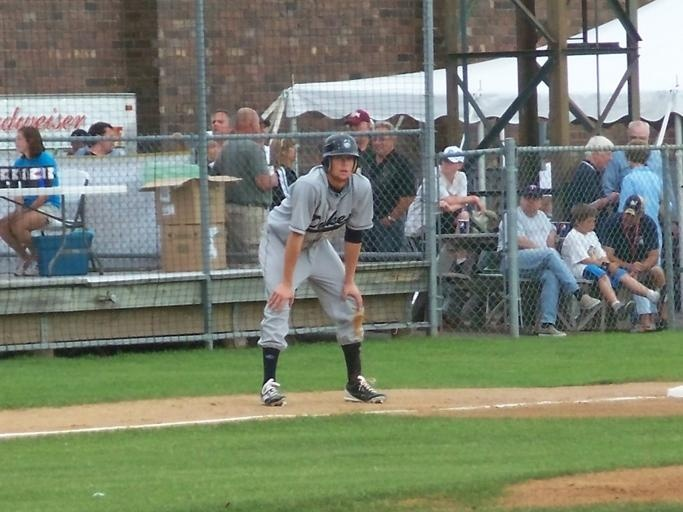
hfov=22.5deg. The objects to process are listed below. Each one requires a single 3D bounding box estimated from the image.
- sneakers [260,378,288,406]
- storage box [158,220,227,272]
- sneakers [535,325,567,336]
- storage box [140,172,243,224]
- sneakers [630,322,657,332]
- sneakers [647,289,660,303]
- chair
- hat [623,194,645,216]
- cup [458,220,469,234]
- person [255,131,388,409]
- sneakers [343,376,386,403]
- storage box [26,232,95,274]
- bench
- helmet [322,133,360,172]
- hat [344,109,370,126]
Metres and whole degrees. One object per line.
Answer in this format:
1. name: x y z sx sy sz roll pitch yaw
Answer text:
1. sneakers: -0.639 1.279 16.430 0.124 0.177 0.359 -1 -5 -20
2. storage box: -1.531 -0.217 18.971 0.698 0.550 0.738 0 12 21
3. sneakers: 2.337 0.784 19.079 0.323 0.215 0.122 -2 -2 13
4. storage box: -1.842 -0.563 18.939 1.030 0.528 0.846 -3 -6 5
5. sneakers: 3.396 0.759 19.298 0.271 0.110 0.098 1 2 -7
6. sneakers: 3.518 0.403 19.310 0.142 0.147 0.147 1 5 14
7. chair: -2.971 -0.332 18.990 0.655 1.057 0.636 -2 -4 -19
8. hat: 3.279 -0.586 19.275 0.170 0.213 0.243 3 -9 3
9. cup: 1.424 -0.358 19.867 0.140 0.157 0.143 0 5 0
10. person: -0.199 0.099 16.432 1.167 2.546 0.552 -1 5 -2
11. sneakers: 0.218 1.255 16.634 0.475 0.225 0.175 -2 -3 37
12. storage box: -3.036 -0.083 18.915 0.664 0.471 0.544 0 11 -13
13. bench: 1.887 0.198 19.284 1.968 1.228 0.458 0 5 9
14. helmet: 0.026 -1.006 16.220 0.357 0.336 0.411 1 6 -17
15. hat: 0.198 -1.562 19.256 0.240 0.138 0.164 3 1 -25
